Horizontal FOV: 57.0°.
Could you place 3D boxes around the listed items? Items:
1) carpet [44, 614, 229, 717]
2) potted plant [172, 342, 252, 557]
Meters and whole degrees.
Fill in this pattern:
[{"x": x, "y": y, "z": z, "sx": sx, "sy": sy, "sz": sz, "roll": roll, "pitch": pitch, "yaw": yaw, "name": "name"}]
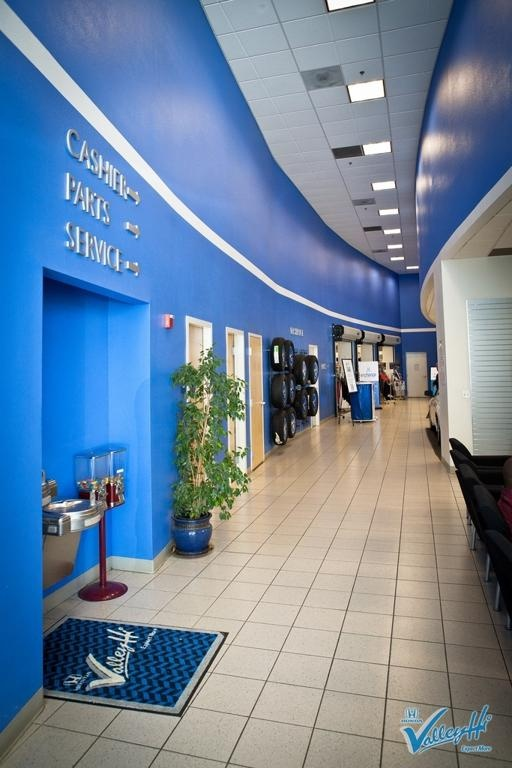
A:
[{"x": -0.681, "y": 1.346, "z": 2.317, "sx": 0.971, "sy": 0.023, "sz": 0.703, "roll": -3, "pitch": -3, "yaw": 15, "name": "carpet"}, {"x": -0.423, "y": 0.557, "z": 4.050, "sx": 0.610, "sy": 1.703, "sz": 0.423, "roll": -1, "pitch": -2, "yaw": -13, "name": "potted plant"}]
